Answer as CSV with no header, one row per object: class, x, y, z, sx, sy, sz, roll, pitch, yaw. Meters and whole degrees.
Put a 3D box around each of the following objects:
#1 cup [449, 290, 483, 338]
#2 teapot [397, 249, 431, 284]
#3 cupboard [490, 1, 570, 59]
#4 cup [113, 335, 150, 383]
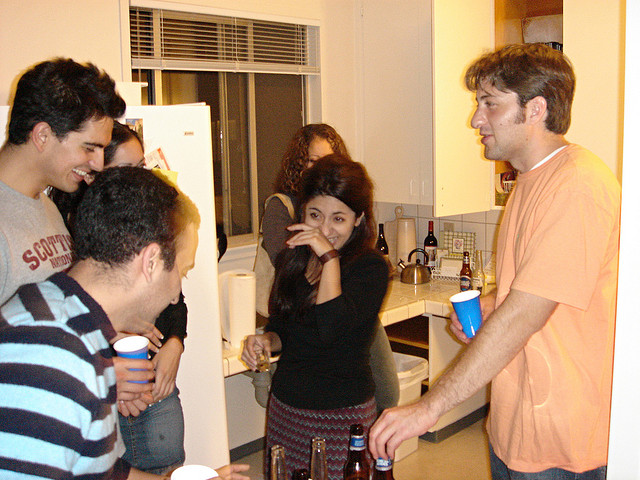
cup,0.466,0.227,1.678,0.104,0.149,0.136,0,1,26
teapot,0.678,0.185,3.885,0.257,0.253,0.210,3,3,15
cupboard,1.349,-1.400,3.472,0.177,0.373,0.496,-7,12,-32
cup,-0.536,0.338,1.595,0.094,0.145,0.136,1,11,-8
